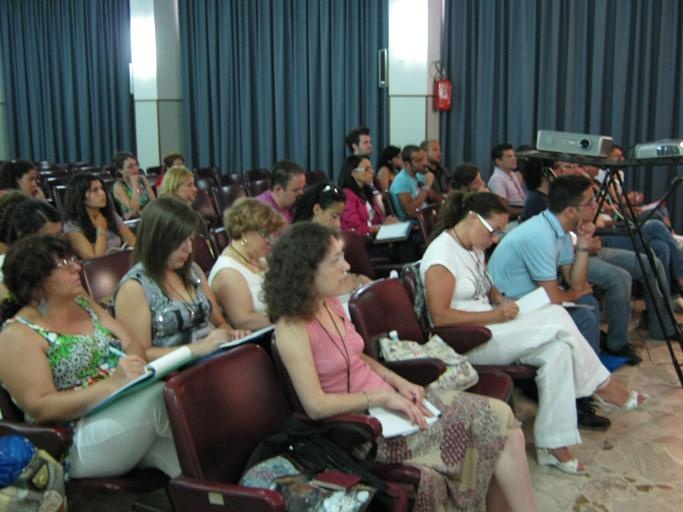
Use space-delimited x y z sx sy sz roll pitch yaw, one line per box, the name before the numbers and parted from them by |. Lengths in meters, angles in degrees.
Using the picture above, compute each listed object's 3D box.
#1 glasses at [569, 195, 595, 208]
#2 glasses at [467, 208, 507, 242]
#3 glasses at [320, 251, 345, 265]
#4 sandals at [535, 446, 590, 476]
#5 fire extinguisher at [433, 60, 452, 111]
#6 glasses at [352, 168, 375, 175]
glasses | 1.378 -0.294 3.225 0.075 0.026 0.075 -21 -1 -41
glasses | 0.751 -0.162 2.977 0.048 0.159 0.152 -40 -8 6
glasses | -0.028 0.008 2.215 0.043 0.025 0.061 -16 -14 6
sandals | 1.037 0.938 2.725 0.204 0.101 0.102 2 12 29
fire extinguisher | 1.295 -2.178 7.381 0.258 0.655 0.251 -3 10 13
glasses | 0.168 -0.686 4.707 0.134 0.049 0.138 4 5 42
